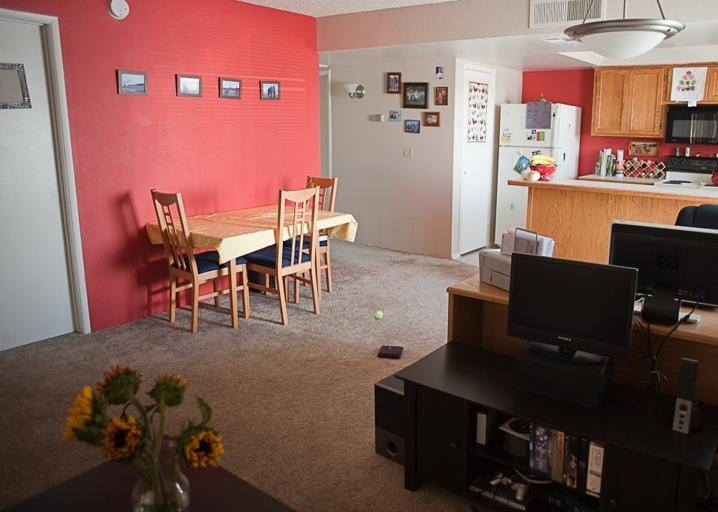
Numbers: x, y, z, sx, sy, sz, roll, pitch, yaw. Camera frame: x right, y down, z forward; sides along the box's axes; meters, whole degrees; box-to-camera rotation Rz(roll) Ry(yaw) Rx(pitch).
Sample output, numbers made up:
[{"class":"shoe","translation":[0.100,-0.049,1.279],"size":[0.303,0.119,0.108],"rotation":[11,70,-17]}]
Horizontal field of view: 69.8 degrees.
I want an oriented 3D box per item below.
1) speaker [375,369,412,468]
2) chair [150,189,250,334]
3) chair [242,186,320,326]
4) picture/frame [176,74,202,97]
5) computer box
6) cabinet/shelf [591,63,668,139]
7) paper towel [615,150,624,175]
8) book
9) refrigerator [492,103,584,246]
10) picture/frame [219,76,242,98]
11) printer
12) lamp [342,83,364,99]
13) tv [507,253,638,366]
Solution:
[{"class":"speaker","translation":[0.250,0.958,3.018],"size":[0.309,0.439,0.315],"rotation":[-3,9,4]},{"class":"chair","translation":[-1.482,0.000,4.730],"size":[0.543,1.243,0.640],"rotation":[14,19,43]},{"class":"chair","translation":[-0.747,-0.042,4.905],"size":[0.627,1.213,0.585],"rotation":[13,17,40]},{"class":"picture/frame","translation":[-1.636,-1.653,4.944],"size":[0.048,0.203,0.271],"rotation":[9,18,32]},{"class":"computer box","translation":[1.077,0.663,2.662],"size":[0.411,0.199,0.318],"rotation":[8,1,41]},{"class":"cabinet/shelf","translation":[3.558,-2.050,7.102],"size":[0.877,0.922,0.713],"rotation":[3,0,6]},{"class":"paper towel","translation":[3.602,-1.311,7.107],"size":[0.107,0.334,0.169],"rotation":[0,15,4]},{"class":"book","translation":[0.999,0.979,2.458],"size":[0.372,0.276,0.207],"rotation":[11,18,41]},{"class":"refrigerator","translation":[2.469,-1.134,7.205],"size":[1.085,2.011,0.815],"rotation":[3,16,13]},{"class":"picture/frame","translation":[-1.328,-1.744,5.242],"size":[0.011,0.176,0.245],"rotation":[8,14,35]},{"class":"printer","translation":[0.921,0.033,3.089],"size":[0.344,0.329,0.367],"rotation":[0,8,-33]},{"class":"lamp","translation":[-0.073,-2.271,6.996],"size":[0.241,0.202,0.202],"rotation":[-15,23,-35]},{"class":"tv","translation":[1.059,0.267,2.555],"size":[0.529,0.459,0.179],"rotation":[5,9,25]}]
